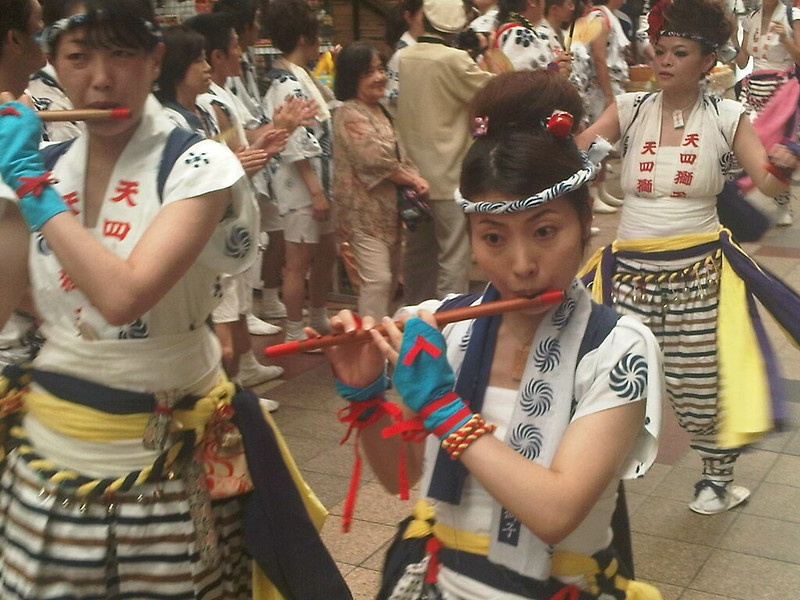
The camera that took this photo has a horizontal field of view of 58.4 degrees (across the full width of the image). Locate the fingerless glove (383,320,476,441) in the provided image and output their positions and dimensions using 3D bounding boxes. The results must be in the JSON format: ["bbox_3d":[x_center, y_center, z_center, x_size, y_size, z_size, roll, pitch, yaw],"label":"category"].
[{"bbox_3d":[0.071,0.177,1.542,0.147,0.244,0.082,-31,-18,3],"label":"fingerless glove"}]

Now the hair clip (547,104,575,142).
[{"bbox_3d":[0.350,-0.386,1.577,0.054,0.041,0.064,-2,26,8],"label":"hair clip"}]

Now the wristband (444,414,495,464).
[{"bbox_3d":[0.138,0.283,1.435,0.085,0.037,0.090,-42,2,-36],"label":"wristband"}]

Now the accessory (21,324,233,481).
[{"bbox_3d":[-0.676,0.255,1.787,0.322,0.276,0.435,-5,-5,28],"label":"accessory"}]

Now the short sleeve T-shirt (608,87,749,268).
[{"bbox_3d":[1.406,-0.604,3.597,0.865,0.903,0.494,5,13,21],"label":"short sleeve T-shirt"}]

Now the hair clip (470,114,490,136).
[{"bbox_3d":[0.181,-0.397,1.632,0.022,0.045,0.043,9,-17,-41],"label":"hair clip"}]
